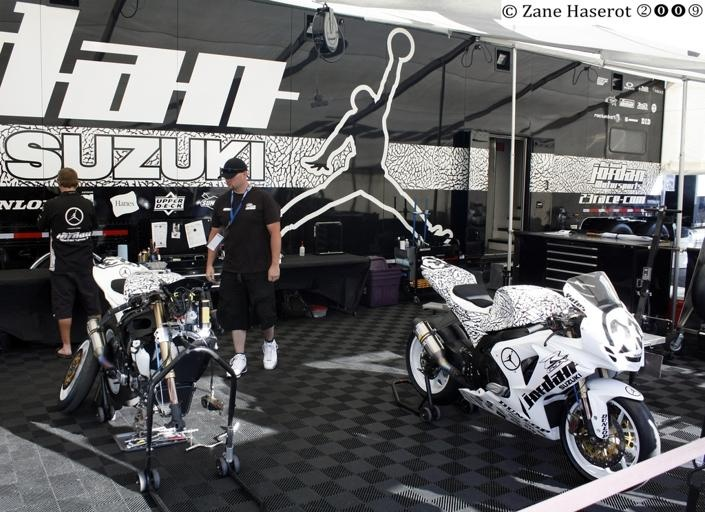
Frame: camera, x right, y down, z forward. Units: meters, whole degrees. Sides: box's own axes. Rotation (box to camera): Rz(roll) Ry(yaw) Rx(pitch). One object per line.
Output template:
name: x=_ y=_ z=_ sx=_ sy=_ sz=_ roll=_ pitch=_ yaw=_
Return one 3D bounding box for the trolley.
trolley: x=-0.989 y=1.014 z=3.274 sx=0.772 sy=1.164 sz=1.005 roll=-1 pitch=14 yaw=-26

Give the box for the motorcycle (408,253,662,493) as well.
motorcycle: x=1.217 y=0.720 z=3.828 sx=0.610 sy=1.306 sz=2.183 roll=1 pitch=6 yaw=-34

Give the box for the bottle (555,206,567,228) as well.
bottle: x=4.395 y=-0.811 z=10.538 sx=0.334 sy=0.450 sz=0.097 roll=-7 pitch=11 yaw=-39

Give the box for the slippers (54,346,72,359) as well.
slippers: x=-3.093 y=1.004 z=5.388 sx=0.098 sy=0.094 sz=0.206 roll=-1 pitch=3 yaw=-40

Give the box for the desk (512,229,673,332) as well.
desk: x=3.340 y=0.171 z=7.231 sx=0.826 sy=0.945 sz=1.364 roll=-7 pitch=10 yaw=-38

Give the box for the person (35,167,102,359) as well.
person: x=-2.983 y=0.059 z=5.347 sx=0.529 sy=1.940 sz=0.323 roll=-4 pitch=10 yaw=-31

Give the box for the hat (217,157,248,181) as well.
hat: x=-1.097 y=-0.818 z=4.702 sx=0.192 sy=0.154 sz=0.268 roll=6 pitch=14 yaw=42

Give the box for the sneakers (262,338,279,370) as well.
sneakers: x=-0.826 y=0.988 z=5.058 sx=0.131 sy=0.330 sz=0.137 roll=-3 pitch=-34 yaw=-2
